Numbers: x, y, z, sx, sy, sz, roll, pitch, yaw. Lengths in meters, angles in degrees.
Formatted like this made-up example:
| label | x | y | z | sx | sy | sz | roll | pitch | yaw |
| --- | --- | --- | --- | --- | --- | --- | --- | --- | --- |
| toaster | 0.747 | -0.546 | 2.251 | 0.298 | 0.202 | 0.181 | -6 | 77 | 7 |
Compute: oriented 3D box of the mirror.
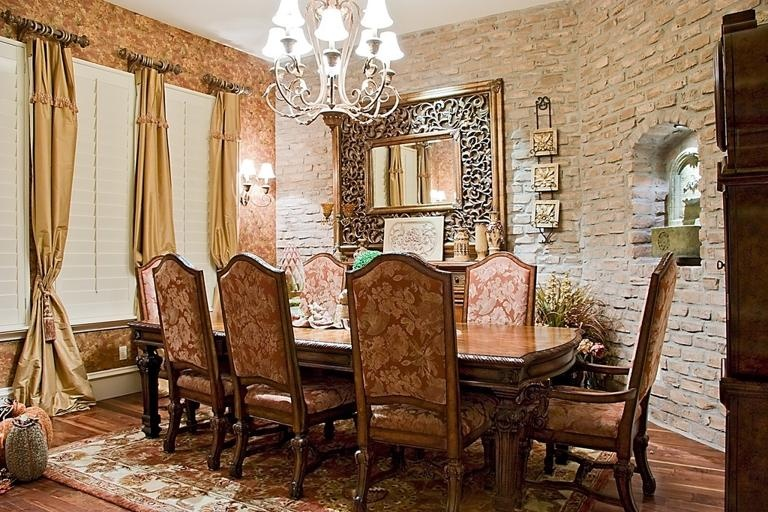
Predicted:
| label | x | y | z | sx | sy | sz | roll | pitch | yaw |
| --- | --- | --- | --- | --- | --- | --- | --- | --- | --- |
| mirror | 0.376 | -0.944 | 6.032 | 1.060 | 0.765 | 0.093 | -2 | -2 | 31 |

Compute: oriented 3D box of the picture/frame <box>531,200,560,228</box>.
| label | x | y | z | sx | sy | sz | roll | pitch | yaw |
| --- | --- | --- | --- | --- | --- | --- | --- | --- | --- |
| picture/frame | 1.638 | -0.422 | 5.439 | 0.277 | 0.315 | 0.044 | 4 | 3 | 30 |

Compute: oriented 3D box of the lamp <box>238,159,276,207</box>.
| label | x | y | z | sx | sy | sz | roll | pitch | yaw |
| --- | --- | --- | --- | --- | --- | --- | --- | --- | --- |
| lamp | -1.547 | -0.891 | 6.602 | 0.443 | 0.573 | 0.889 | -2 | 6 | -12 |

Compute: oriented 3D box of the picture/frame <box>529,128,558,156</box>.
| label | x | y | z | sx | sy | sz | roll | pitch | yaw |
| --- | --- | --- | --- | --- | --- | --- | --- | --- | --- |
| picture/frame | 1.615 | -1.149 | 5.442 | 0.287 | 0.311 | 0.053 | -3 | -9 | 30 |

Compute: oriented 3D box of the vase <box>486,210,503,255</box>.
| label | x | y | z | sx | sy | sz | roll | pitch | yaw |
| --- | --- | --- | --- | --- | --- | --- | --- | --- | --- |
| vase | 1.128 | -0.247 | 5.555 | 0.154 | 0.443 | 0.194 | 4 | 8 | 34 |

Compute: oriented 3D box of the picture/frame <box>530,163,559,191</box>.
| label | x | y | z | sx | sy | sz | roll | pitch | yaw |
| --- | --- | --- | --- | --- | --- | --- | --- | --- | --- |
| picture/frame | 1.626 | -0.793 | 5.442 | 0.299 | 0.292 | 0.049 | 0 | -4 | 35 |

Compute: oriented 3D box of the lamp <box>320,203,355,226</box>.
| label | x | y | z | sx | sy | sz | roll | pitch | yaw |
| --- | --- | --- | --- | --- | --- | --- | --- | --- | --- |
| lamp | -0.594 | -0.514 | 6.471 | 0.517 | 0.309 | 0.200 | 3 | 2 | 27 |

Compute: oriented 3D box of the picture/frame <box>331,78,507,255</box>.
| label | x | y | z | sx | sy | sz | roll | pitch | yaw |
| --- | --- | --- | --- | --- | --- | --- | --- | --- | --- |
| picture/frame | 0.462 | -0.974 | 5.846 | 2.172 | 1.819 | 0.162 | 1 | 4 | 39 |
